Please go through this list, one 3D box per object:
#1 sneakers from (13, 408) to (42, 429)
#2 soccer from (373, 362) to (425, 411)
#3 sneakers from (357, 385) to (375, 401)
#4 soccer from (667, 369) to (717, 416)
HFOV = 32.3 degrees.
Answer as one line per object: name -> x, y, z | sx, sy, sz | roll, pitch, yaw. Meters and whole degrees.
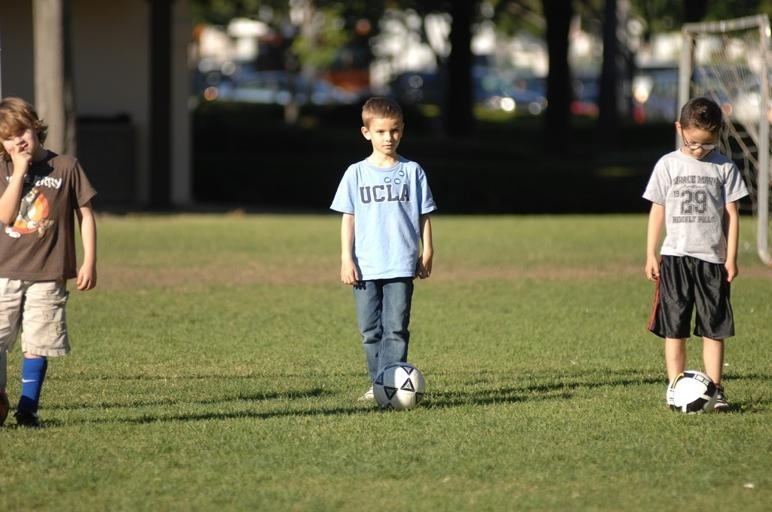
sneakers -> -3.178, 1.442, 11.776 | 0.198, 0.192, 0.135 | 2, 3, 16
soccer -> 0.126, 1.245, 12.293 | 0.446, 0.422, 0.452 | -16, -15, 25
sneakers -> -0.181, 1.299, 12.465 | 0.217, 0.150, 0.079 | -2, -10, 38
soccer -> 2.781, 1.244, 12.206 | 0.422, 0.322, 0.357 | 18, -24, 9
